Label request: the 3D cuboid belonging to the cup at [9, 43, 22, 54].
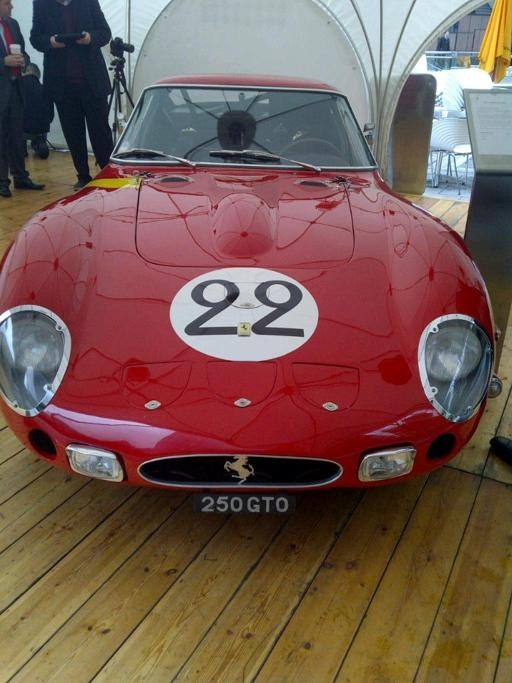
[{"bbox_3d":[-1.741,-2.135,3.992,0.079,0.076,0.276,-12,27,-18],"label":"cup"}]
